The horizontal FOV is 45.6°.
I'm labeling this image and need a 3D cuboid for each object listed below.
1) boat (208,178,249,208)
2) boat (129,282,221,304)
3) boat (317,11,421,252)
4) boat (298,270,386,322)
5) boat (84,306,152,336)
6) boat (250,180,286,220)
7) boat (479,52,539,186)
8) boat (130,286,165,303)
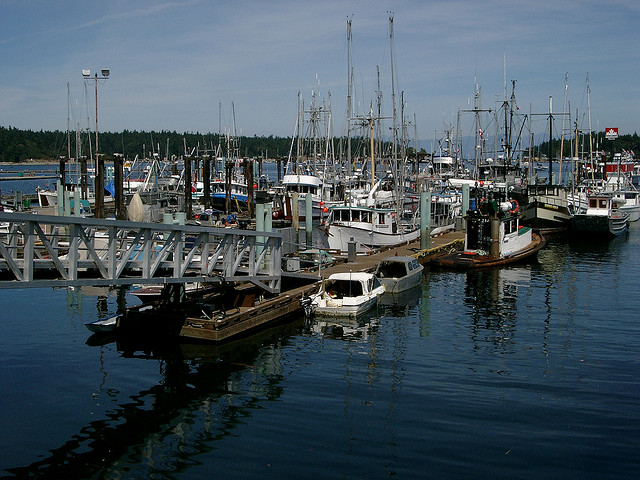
[{"bbox_3d":[-8.294,-4.542,75.227,2.711,2.098,5.559,1,2,8],"label":"boat"},{"bbox_3d":[-5.793,2.375,31.713,3.483,1.099,1.937,-2,2,-6],"label":"boat"},{"bbox_3d":[3.022,-6.084,44.921,5.488,13.825,8.624,1,13,7],"label":"boat"},{"bbox_3d":[1.505,2.173,33.622,2.792,1.916,5.494,-1,4,20],"label":"boat"},{"bbox_3d":[-7.890,3.254,28.930,1.213,0.666,0.597,-3,14,-14],"label":"boat"},{"bbox_3d":[-4.089,-3.533,68.460,2.430,2.870,8.189,5,5,22],"label":"boat"},{"bbox_3d":[16.026,-7.129,65.172,3.265,14.506,3.607,-4,9,-29],"label":"boat"},{"bbox_3d":[-6.843,2.225,31.803,1.062,0.447,1.035,-18,8,11],"label":"boat"}]
